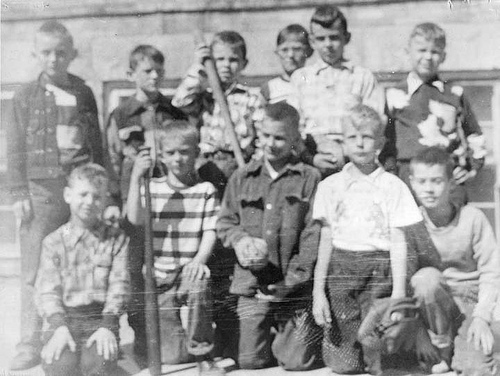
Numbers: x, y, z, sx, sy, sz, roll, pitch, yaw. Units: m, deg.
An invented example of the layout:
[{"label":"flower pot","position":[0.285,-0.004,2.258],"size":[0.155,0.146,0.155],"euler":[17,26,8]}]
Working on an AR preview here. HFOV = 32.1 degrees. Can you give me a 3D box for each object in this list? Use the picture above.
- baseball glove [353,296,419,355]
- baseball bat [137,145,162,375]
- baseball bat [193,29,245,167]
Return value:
[{"label":"baseball glove","position":[0.884,0.923,5.818],"size":[0.255,0.152,0.343],"euler":[35,11,-1]},{"label":"baseball bat","position":[-0.661,0.574,5.810],"size":[0.104,1.324,0.032],"euler":[-1,0,21]},{"label":"baseball bat","position":[-0.199,-0.606,5.790],"size":[0.084,0.970,0.076],"euler":[-22,-2,18]}]
